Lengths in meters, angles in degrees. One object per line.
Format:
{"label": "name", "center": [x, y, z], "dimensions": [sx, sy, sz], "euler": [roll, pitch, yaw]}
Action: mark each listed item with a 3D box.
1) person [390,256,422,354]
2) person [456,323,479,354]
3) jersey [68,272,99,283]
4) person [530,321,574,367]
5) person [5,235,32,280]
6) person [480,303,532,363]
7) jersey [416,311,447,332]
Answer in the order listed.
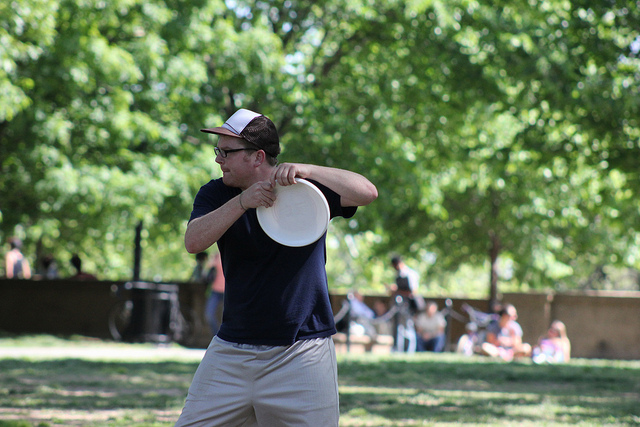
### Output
{"label": "person", "center": [2.302, 2.439, 32.349], "dimensions": [0.798, 2.570, 1.031], "euler": [1, -5, 4]}
{"label": "person", "center": [4.020, 3.379, 32.895], "dimensions": [0.529, 0.827, 0.475], "euler": [2, -5, -2]}
{"label": "jersey", "center": [-6.516, 1.780, 33.626], "dimensions": [0.782, 0.359, 1.733], "euler": [3, -6, -10]}
{"label": "person", "center": [6.002, 3.432, 31.771], "dimensions": [0.613, 1.132, 0.721], "euler": [33, -24, -24]}
{"label": "person", "center": [-8.453, 1.354, 33.884], "dimensions": [0.556, 0.538, 1.697], "euler": [19, 20, -25]}
{"label": "person", "center": [4.822, 2.970, 31.723], "dimensions": [1.094, 1.751, 1.541], "euler": [8, 16, 14]}
{"label": "jersey", "center": [2.971, 2.903, 32.581], "dimensions": [0.796, 0.638, 0.451], "euler": [-1, -3, 7]}
